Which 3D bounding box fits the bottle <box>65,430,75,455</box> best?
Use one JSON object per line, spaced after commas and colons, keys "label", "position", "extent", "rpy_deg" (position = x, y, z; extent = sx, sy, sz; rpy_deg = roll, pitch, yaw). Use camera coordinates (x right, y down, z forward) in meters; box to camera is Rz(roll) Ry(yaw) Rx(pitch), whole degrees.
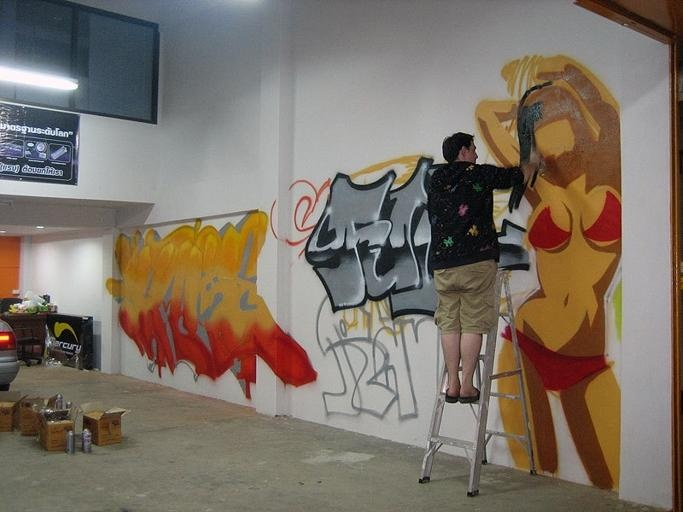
{"label": "bottle", "position": [-2.842, 1.932, 6.682], "extent": [0.084, 0.209, 0.246], "rpy_deg": [-2, 4, -27]}

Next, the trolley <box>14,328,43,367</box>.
{"label": "trolley", "position": [-6.475, 1.812, 13.262], "extent": [0.521, 0.740, 2.002], "rpy_deg": [-3, 4, -27]}

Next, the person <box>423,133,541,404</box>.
{"label": "person", "position": [1.163, 0.075, 5.810], "extent": [0.737, 2.410, 0.498], "rpy_deg": [0, 3, 8]}

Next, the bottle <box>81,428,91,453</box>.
{"label": "bottle", "position": [-2.661, 1.919, 6.658], "extent": [0.092, 0.237, 0.141], "rpy_deg": [-2, 4, -27]}

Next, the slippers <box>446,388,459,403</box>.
{"label": "slippers", "position": [0.981, 1.238, 5.712], "extent": [0.146, 0.125, 0.084], "rpy_deg": [2, 5, 40]}
